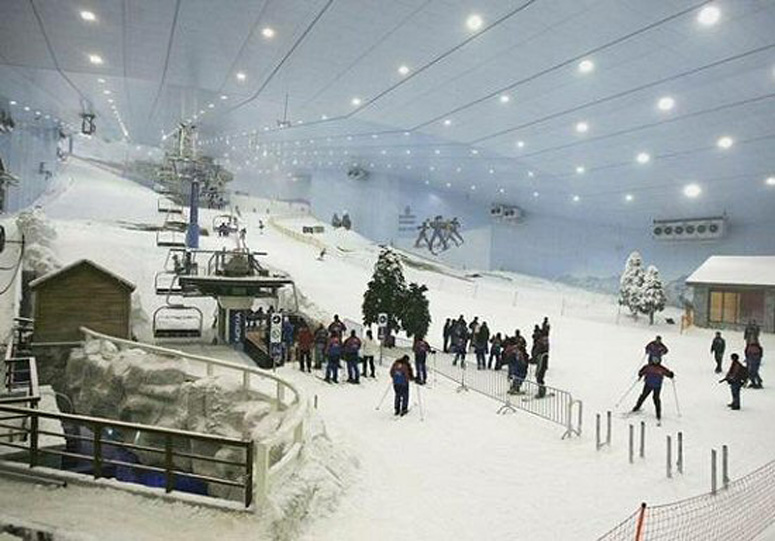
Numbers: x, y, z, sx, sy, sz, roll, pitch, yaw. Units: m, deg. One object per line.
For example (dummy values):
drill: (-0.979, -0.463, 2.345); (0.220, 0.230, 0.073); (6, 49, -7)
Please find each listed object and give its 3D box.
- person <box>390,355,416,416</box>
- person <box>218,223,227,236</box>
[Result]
person: (0.521, 4.303, 20.984); (0.831, 1.976, 0.883); (6, -2, 19)
person: (-14.366, -3.463, 49.001); (0.731, 1.102, 1.537); (8, -2, -17)
